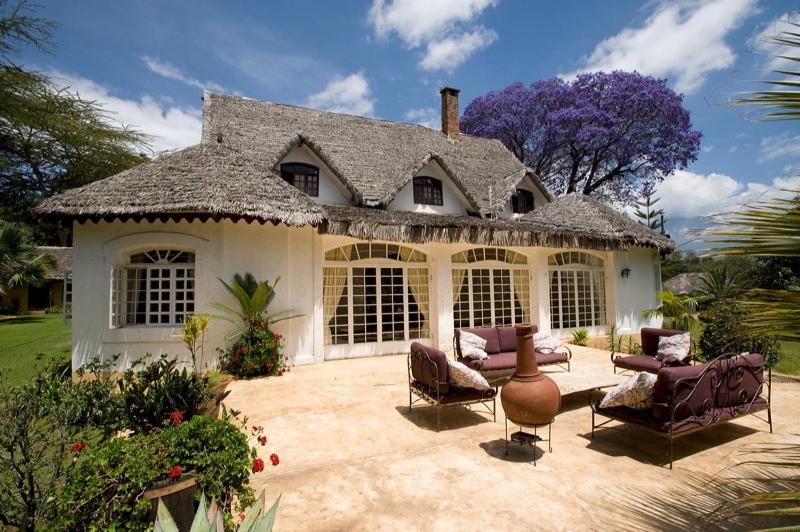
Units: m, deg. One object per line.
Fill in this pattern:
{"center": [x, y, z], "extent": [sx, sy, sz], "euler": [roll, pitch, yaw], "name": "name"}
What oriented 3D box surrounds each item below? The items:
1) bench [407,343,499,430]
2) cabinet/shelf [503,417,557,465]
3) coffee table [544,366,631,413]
{"center": [1.239, 2.851, 12.528], "extent": [1.552, 1.821, 2.124], "euler": [-3, 1, -23], "name": "bench"}
{"center": [2.805, 3.759, 10.915], "extent": [0.905, 0.785, 0.982], "euler": [3, -8, -14], "name": "cabinet/shelf"}
{"center": [4.779, 3.002, 12.882], "extent": [1.532, 0.415, 1.079], "euler": [-2, 8, -20], "name": "coffee table"}
